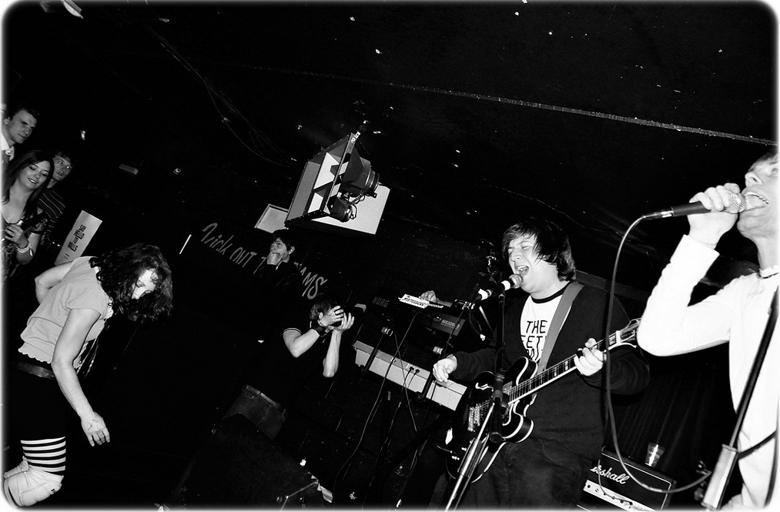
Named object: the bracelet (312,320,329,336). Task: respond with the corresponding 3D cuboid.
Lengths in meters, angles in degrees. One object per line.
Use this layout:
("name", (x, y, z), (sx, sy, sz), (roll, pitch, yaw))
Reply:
("bracelet", (-0.666, 0.665, 5.178), (0.135, 0.103, 0.178), (38, 6, 1))

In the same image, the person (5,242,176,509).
("person", (-2.574, 1.083, 4.607), (0.819, 2.136, 0.991), (19, 34, -40))

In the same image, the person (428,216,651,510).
("person", (1.184, 0.857, 4.083), (0.914, 2.493, 1.476), (36, -33, -13))

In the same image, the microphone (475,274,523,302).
("microphone", (0.752, 0.228, 3.754), (0.234, 0.199, 0.437), (18, -2, 16))
